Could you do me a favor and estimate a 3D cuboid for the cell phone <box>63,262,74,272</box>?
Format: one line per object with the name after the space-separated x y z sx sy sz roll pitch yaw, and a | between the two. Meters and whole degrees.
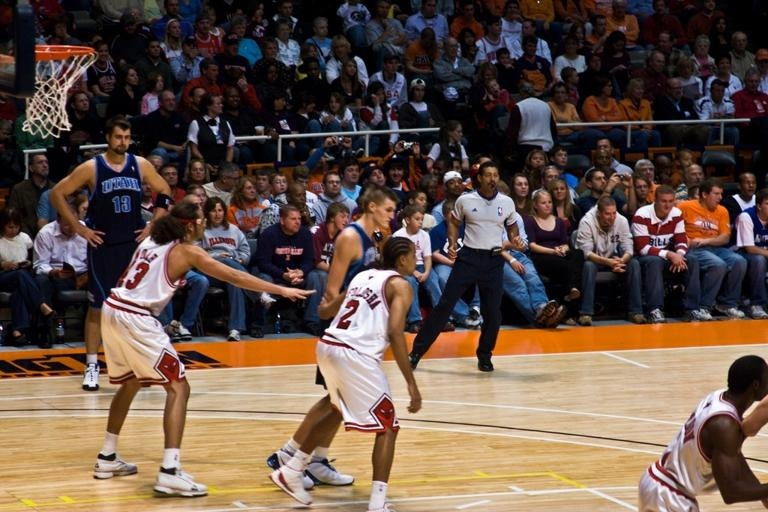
-3.957 0.144 11.442 0.144 0.120 0.103 1 0 -5 | cell phone

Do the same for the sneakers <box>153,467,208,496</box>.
-1.618 1.789 7.327 0.430 0.228 0.199 3 -2 -11 | sneakers

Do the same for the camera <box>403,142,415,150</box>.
0.428 -1.766 14.778 0.163 0.126 0.413 1 -1 -1 | camera

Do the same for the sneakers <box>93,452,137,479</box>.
-2.252 1.737 7.669 0.424 0.181 0.150 0 3 -41 | sneakers

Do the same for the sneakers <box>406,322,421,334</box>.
0.398 0.977 12.334 0.145 0.177 0.182 5 -13 -22 | sneakers

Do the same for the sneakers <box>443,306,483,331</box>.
1.169 0.876 12.800 0.209 0.265 0.606 3 -10 -13 | sneakers

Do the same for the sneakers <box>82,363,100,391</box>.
-3.184 1.316 9.949 0.131 0.168 0.379 1 7 -15 | sneakers

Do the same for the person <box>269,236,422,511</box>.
-0.187 0.906 7.082 1.001 2.106 0.510 1 0 24 | person

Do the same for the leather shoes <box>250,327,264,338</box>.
-1.673 1.010 12.054 0.123 0.108 0.281 2 -8 -12 | leather shoes

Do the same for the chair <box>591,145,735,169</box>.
5.158 -1.742 16.536 2.684 0.438 0.612 -1 2 -1 | chair

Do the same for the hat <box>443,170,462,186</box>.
0.972 -1.080 12.963 0.211 0.147 0.210 0 1 11 | hat
